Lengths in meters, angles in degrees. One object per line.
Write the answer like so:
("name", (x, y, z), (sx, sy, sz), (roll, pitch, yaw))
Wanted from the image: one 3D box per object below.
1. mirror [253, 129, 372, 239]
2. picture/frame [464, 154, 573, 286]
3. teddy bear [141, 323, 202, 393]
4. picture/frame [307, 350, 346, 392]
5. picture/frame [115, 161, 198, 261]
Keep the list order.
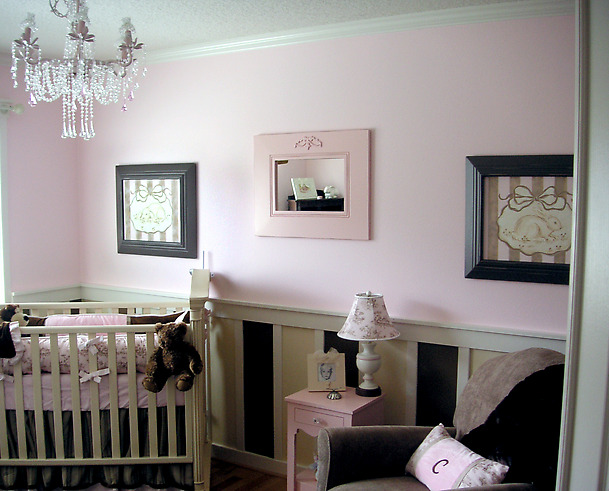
("mirror", (0.078, -0.381, 3.098), (0.652, 0.579, 0.047), (2, 5, 24))
("picture/frame", (1.099, -0.137, 2.559), (0.646, 0.683, 0.049), (2, 4, 30))
("teddy bear", (-0.715, 0.585, 2.866), (0.403, 0.462, 0.327), (1, 5, -13))
("picture/frame", (0.125, 0.730, 2.910), (0.210, 0.250, 0.058), (-1, -9, 0))
("picture/frame", (-1.052, -0.263, 3.689), (0.685, 0.681, 0.051), (3, 6, 24))
